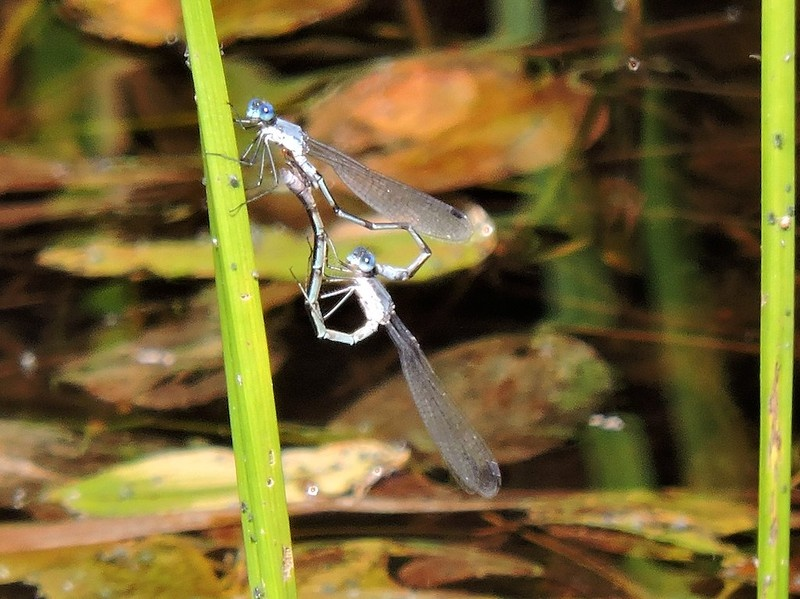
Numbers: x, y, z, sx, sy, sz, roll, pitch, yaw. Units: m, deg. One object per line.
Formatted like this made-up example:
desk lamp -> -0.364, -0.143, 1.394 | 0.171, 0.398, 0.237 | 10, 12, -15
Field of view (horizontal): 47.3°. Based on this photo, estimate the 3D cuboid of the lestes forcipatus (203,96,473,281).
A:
lestes forcipatus -> -0.090, -0.208, 1.681 | 0.118, 0.434, 0.220 | -63, 20, -7
